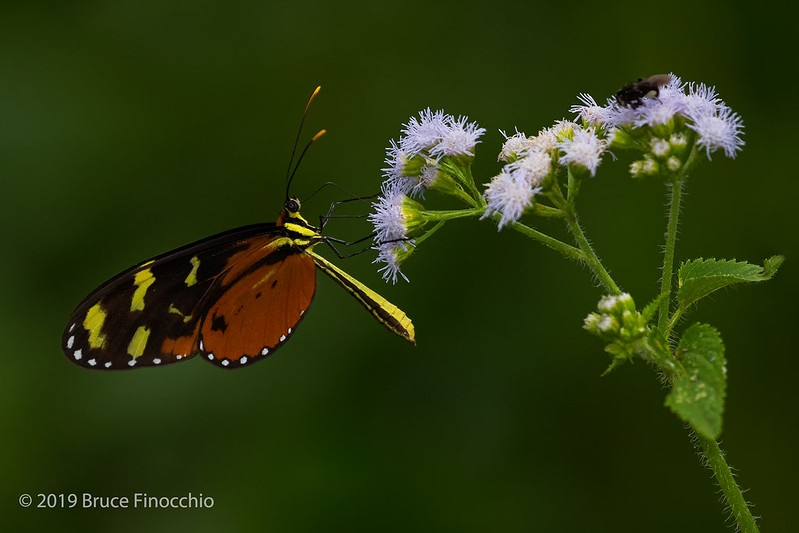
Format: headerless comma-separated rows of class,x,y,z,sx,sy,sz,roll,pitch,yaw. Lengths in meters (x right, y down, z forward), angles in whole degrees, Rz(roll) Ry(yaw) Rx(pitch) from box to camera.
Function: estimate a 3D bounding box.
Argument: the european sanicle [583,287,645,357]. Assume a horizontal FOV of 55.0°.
european sanicle,1.335,0.344,4.532,0.300,0.329,0.257,16,-2,22
